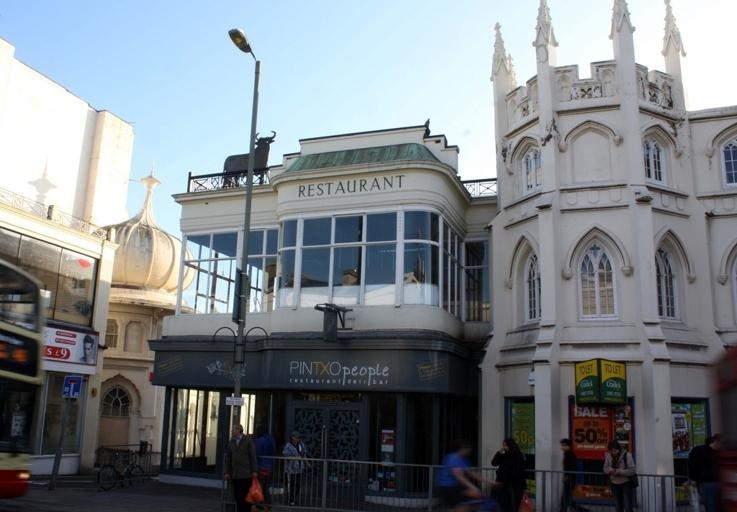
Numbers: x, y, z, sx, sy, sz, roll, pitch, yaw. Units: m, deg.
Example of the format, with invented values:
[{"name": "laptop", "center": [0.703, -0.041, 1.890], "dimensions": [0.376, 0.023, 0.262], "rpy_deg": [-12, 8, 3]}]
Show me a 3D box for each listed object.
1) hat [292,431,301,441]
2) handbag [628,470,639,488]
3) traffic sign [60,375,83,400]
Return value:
[{"name": "hat", "center": [-2.297, 5.680, 20.104], "dimensions": [0.316, 0.325, 0.284], "rpy_deg": [-2, -9, -1]}, {"name": "handbag", "center": [6.854, 5.768, 16.463], "dimensions": [0.217, 0.375, 0.309], "rpy_deg": [-12, -21, 33]}, {"name": "traffic sign", "center": [-10.477, 4.605, 22.391], "dimensions": [0.508, 0.846, 0.821], "rpy_deg": [9, -20, -27]}]
